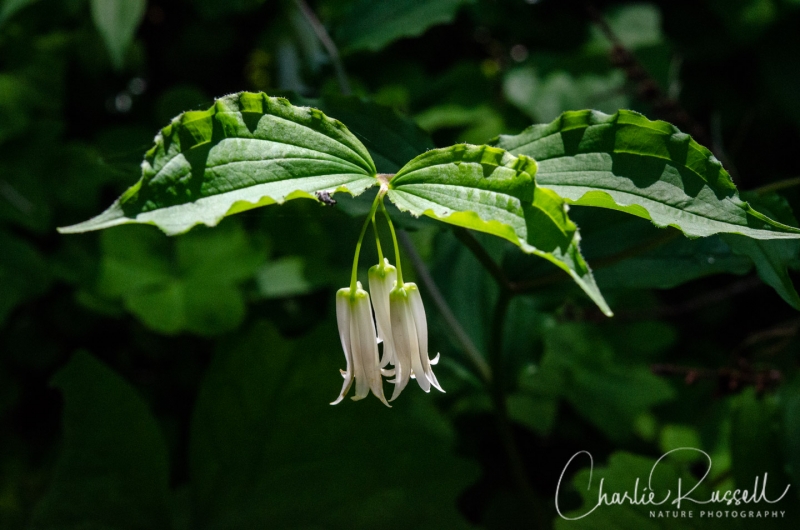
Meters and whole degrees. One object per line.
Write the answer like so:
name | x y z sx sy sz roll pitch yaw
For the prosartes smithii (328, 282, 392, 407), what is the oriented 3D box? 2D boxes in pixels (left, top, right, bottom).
prosartes smithii | -0.132 0.253 2.524 0.209 0.387 0.196 -16 20 -18

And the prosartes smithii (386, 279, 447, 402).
prosartes smithii | 0.020 0.247 2.520 0.200 0.215 0.401 -21 63 24
